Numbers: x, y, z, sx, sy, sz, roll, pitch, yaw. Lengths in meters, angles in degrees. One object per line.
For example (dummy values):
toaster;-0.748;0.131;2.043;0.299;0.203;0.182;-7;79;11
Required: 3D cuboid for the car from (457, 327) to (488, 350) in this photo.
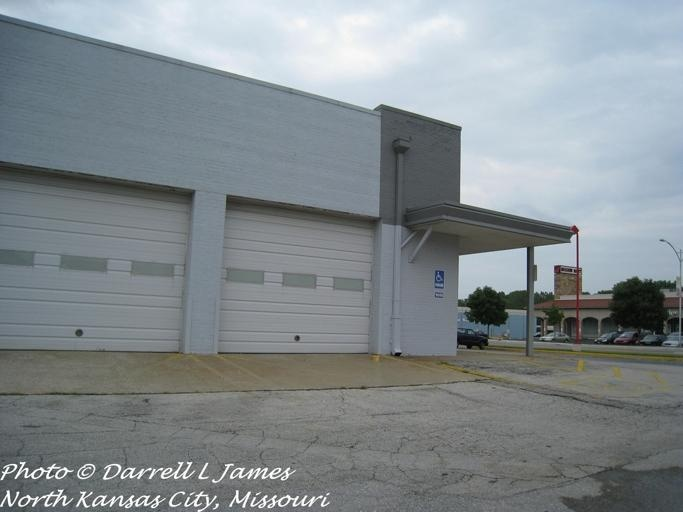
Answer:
car;7.678;5.463;33.796;3.560;1.208;1.485;-1;-3;-4
